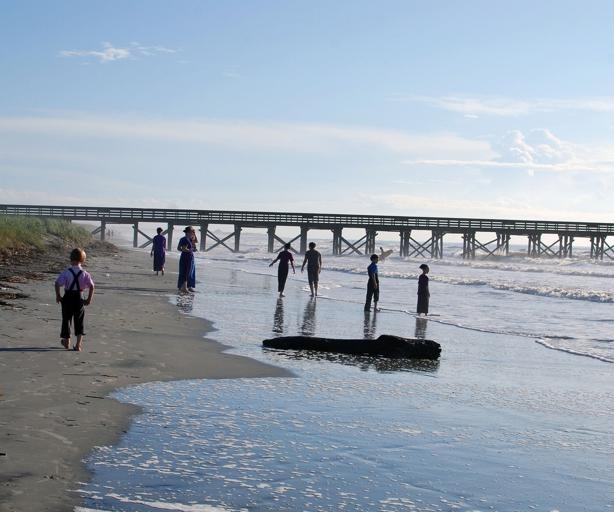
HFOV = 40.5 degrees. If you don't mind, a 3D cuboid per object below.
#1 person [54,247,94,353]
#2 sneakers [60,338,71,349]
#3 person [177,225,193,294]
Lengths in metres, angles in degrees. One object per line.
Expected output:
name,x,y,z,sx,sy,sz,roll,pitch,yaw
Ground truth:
person,-2.761,0.506,9.851,0.415,0.800,0.687,3,1,-15
sneakers,-2.804,1.027,9.717,0.151,0.119,0.107,1,2,19
person,-2.673,0.082,18.323,0.306,1.029,0.929,3,1,-9
